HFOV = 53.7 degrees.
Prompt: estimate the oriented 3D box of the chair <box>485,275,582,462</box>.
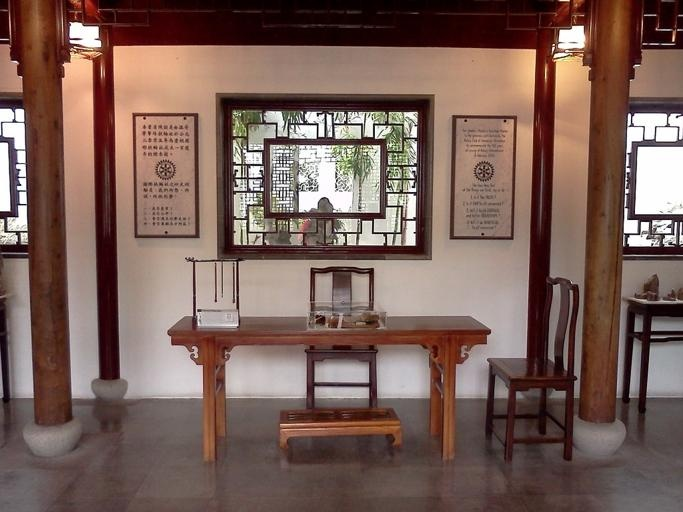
[{"bbox_3d":[1.613,0.850,5.700,0.721,1.388,1.238,1,7,18],"label":"chair"}]
